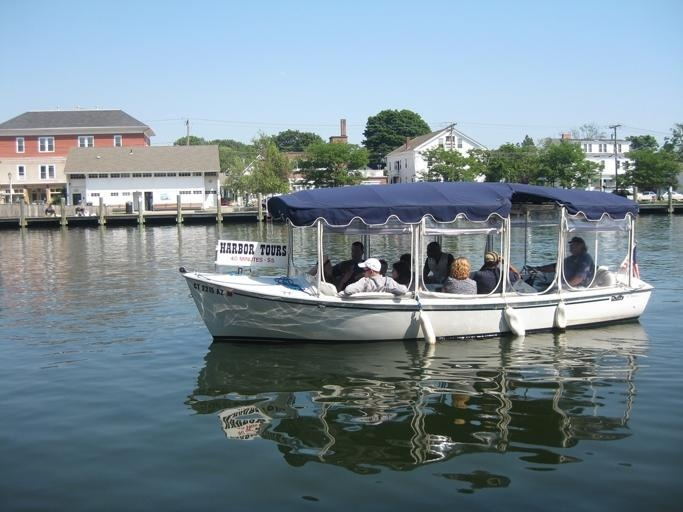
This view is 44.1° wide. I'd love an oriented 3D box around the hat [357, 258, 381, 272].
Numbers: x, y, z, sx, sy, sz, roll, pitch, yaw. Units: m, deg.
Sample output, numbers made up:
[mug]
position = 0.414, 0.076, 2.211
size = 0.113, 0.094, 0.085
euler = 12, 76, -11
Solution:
[hat]
position = 0.566, 0.170, 16.700
size = 0.486, 0.147, 0.259
euler = 6, 4, 10
